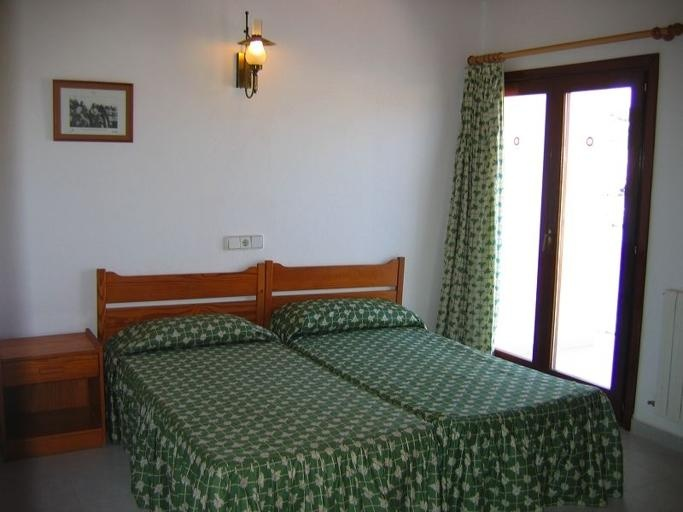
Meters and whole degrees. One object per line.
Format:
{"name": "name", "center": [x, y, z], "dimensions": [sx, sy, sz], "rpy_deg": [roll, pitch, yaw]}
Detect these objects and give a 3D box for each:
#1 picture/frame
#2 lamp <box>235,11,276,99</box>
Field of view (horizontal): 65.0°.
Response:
{"name": "picture/frame", "center": [-1.831, -1.063, 3.885], "dimensions": [0.430, 0.397, 0.019], "rpy_deg": [-2, 5, -26]}
{"name": "lamp", "center": [-0.673, -1.574, 4.132], "dimensions": [0.295, 0.677, 0.262], "rpy_deg": [7, 8, 41]}
